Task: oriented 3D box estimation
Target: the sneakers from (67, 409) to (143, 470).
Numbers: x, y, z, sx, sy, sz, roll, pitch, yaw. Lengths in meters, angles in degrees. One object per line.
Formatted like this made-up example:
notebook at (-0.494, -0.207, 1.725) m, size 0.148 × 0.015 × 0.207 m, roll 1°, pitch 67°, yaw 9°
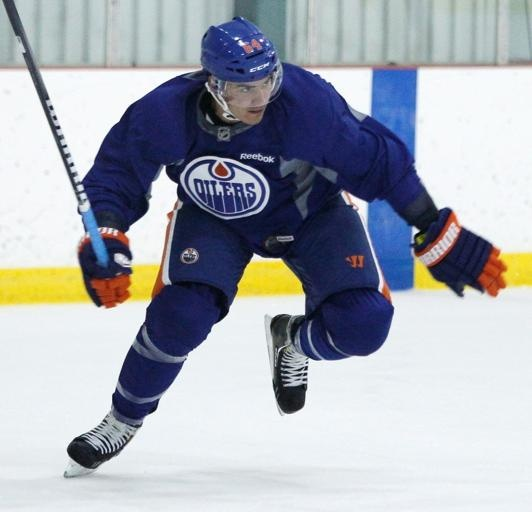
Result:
sneakers at (-0.460, 0.533, 2.293) m, size 0.091 × 0.118 × 0.272 m, roll 34°, pitch 23°, yaw 10°

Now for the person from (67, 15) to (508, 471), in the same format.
person at (0.008, -0.079, 2.416) m, size 1.359 × 1.335 × 0.673 m, roll -6°, pitch 20°, yaw 1°

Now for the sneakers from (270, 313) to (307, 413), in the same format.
sneakers at (0.037, 0.374, 2.647) m, size 0.105 × 0.353 × 0.139 m, roll -8°, pitch -3°, yaw -14°

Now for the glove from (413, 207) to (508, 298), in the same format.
glove at (0.594, 0.011, 2.251) m, size 0.106 × 0.173 × 0.271 m, roll -37°, pitch 67°, yaw -14°

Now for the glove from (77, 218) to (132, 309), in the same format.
glove at (-0.445, 0.033, 2.183) m, size 0.135 × 0.214 × 0.098 m, roll -4°, pitch 11°, yaw -13°

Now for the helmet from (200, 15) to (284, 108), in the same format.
helmet at (-0.069, -0.531, 2.225) m, size 0.199 × 0.245 × 0.261 m, roll -19°, pitch 39°, yaw -16°
